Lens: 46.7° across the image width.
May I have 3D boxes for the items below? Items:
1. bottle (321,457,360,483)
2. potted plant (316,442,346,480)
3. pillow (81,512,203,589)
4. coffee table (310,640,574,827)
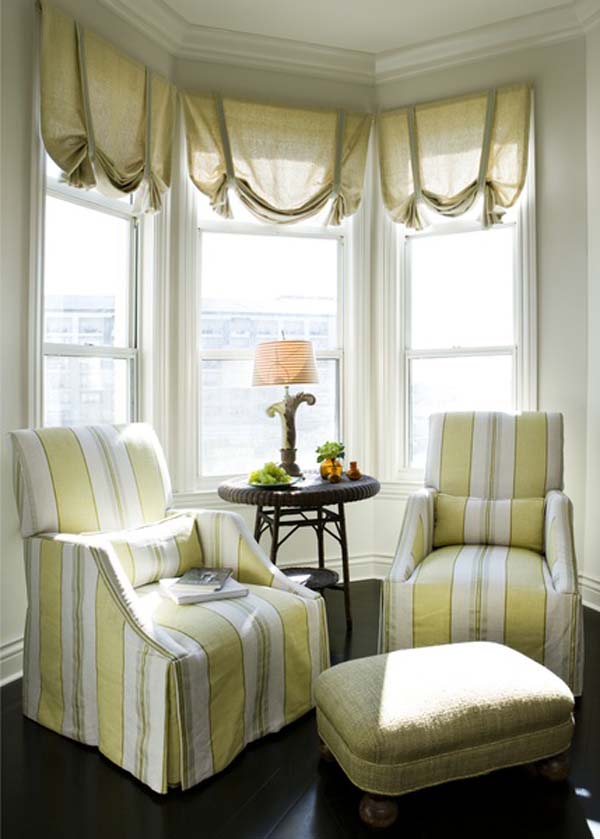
[{"bbox_3d":[0.174,0.222,3.029,0.125,0.092,0.092,2,0,5],"label":"bottle"},{"bbox_3d":[0.159,0.181,3.084,0.131,0.202,0.138,2,3,-15],"label":"potted plant"},{"bbox_3d":[-0.450,0.443,2.309,0.291,0.195,0.101,-16,-10,19],"label":"pillow"},{"bbox_3d":[0.368,0.800,1.820,0.609,0.318,0.408,-1,3,-22],"label":"coffee table"}]
